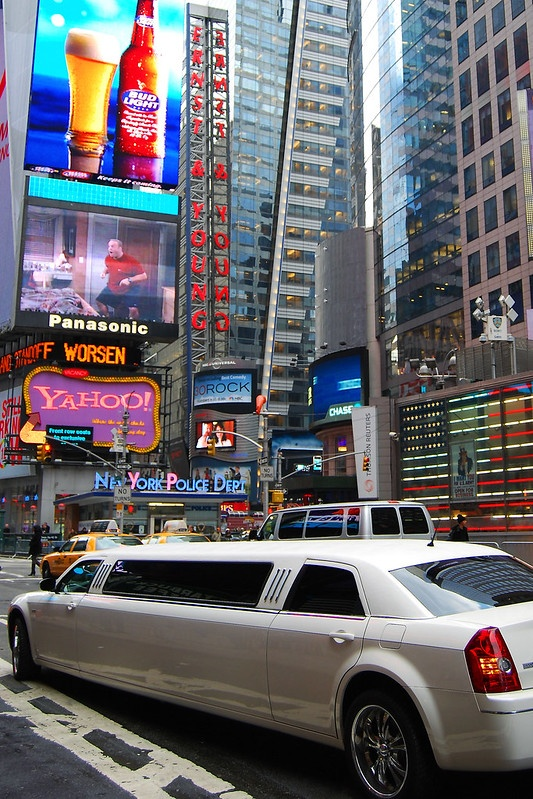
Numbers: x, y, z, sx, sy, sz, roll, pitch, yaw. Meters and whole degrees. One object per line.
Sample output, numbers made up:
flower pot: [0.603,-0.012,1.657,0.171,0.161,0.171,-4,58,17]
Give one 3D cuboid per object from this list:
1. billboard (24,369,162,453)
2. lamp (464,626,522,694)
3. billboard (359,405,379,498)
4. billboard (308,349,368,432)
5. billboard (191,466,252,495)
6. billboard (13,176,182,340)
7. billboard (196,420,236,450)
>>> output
billboard: [-17.568,1.158,65.316,8.573,5.490,0.882,6,-24,-24]
lamp: [1.196,1.364,3.439,0.229,0.343,0.174,2,-45,-4]
billboard: [4.993,2.680,32.664,0.961,4.643,0.649,0,5,33]
billboard: [8.248,-1.186,79.770,1.549,8.650,10.406,9,-13,-34]
billboard: [-4.364,8.262,67.778,4.155,2.425,0.559,-3,-23,7]
billboard: [-17.089,-13.780,66.575,16.208,15.517,1.649,6,-16,-20]
billboard: [-5.276,3.847,72.049,5.238,3.899,0.541,0,-24,12]
